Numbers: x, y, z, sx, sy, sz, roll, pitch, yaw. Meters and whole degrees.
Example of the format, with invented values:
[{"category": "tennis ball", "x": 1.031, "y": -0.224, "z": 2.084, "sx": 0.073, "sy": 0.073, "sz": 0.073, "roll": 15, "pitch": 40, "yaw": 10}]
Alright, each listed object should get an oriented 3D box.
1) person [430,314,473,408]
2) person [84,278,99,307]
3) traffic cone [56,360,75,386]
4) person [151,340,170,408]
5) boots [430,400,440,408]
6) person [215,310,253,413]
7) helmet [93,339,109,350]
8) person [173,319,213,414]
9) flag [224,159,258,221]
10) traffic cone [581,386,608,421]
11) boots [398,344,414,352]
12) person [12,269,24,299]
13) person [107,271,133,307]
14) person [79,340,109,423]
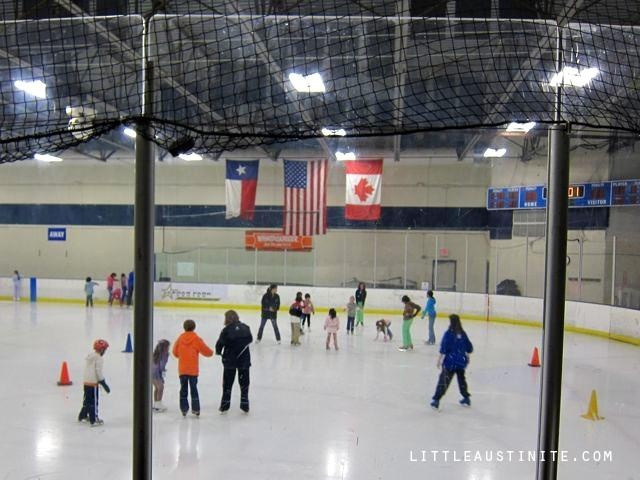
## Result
[{"category": "person", "x": 2.841, "y": 2.556, "z": 17.666, "sx": 0.795, "sy": 2.083, "sz": 0.723, "roll": 4, "pitch": 10, "yaw": 23}, {"category": "person", "x": -8.334, "y": 1.856, "z": 30.155, "sx": 0.454, "sy": 1.160, "sz": 1.132, "roll": -2, "pitch": 10, "yaw": -16}, {"category": "traffic cone", "x": -5.854, "y": 3.041, "z": 19.053, "sx": 0.463, "sy": 0.586, "sz": 0.484, "roll": -2, "pitch": 0, "yaw": 23}, {"category": "person", "x": -3.356, "y": 2.799, "z": 17.413, "sx": 0.333, "sy": 1.567, "sz": 0.688, "roll": -2, "pitch": 9, "yaw": -12}, {"category": "boots", "x": 2.461, "y": 3.500, "z": 17.725, "sx": 0.176, "sy": 0.198, "sz": 0.113, "roll": -1, "pitch": -3, "yaw": 38}, {"category": "person", "x": -1.807, "y": 2.531, "z": 17.438, "sx": 0.711, "sy": 2.136, "sz": 0.687, "roll": -1, "pitch": 9, "yaw": -4}, {"category": "helmet", "x": -4.404, "y": 2.116, "z": 16.686, "sx": 0.218, "sy": 0.204, "sz": 0.284, "roll": -1, "pitch": 9, "yaw": -7}, {"category": "person", "x": -2.699, "y": 2.615, "z": 17.334, "sx": 0.711, "sy": 2.014, "sz": 0.988, "roll": -2, "pitch": 9, "yaw": -11}, {"category": "flag", "x": -2.496, "y": -1.669, "z": 26.562, "sx": 0.999, "sy": 1.798, "sz": 0.598, "roll": 0, "pitch": 9, "yaw": 0}, {"category": "traffic cone", "x": 5.846, "y": 3.501, "z": 17.712, "sx": 0.566, "sy": 0.671, "sz": 0.558, "roll": 4, "pitch": -5, "yaw": 22}, {"category": "boots", "x": 2.281, "y": 2.878, "z": 22.131, "sx": 0.375, "sy": 0.196, "sz": 0.182, "roll": 3, "pitch": 1, "yaw": 27}, {"category": "person", "x": -11.358, "y": 1.695, "z": 31.098, "sx": 0.348, "sy": 1.104, "sz": 0.414, "roll": -3, "pitch": 9, "yaw": -17}, {"category": "person", "x": -7.275, "y": 1.824, "z": 30.202, "sx": 1.087, "sy": 1.486, "sz": 0.581, "roll": 2, "pitch": 7, "yaw": 11}, {"category": "person", "x": -4.540, "y": 2.889, "z": 16.705, "sx": 0.504, "sy": 1.735, "sz": 0.807, "roll": -7, "pitch": 11, "yaw": -37}]
